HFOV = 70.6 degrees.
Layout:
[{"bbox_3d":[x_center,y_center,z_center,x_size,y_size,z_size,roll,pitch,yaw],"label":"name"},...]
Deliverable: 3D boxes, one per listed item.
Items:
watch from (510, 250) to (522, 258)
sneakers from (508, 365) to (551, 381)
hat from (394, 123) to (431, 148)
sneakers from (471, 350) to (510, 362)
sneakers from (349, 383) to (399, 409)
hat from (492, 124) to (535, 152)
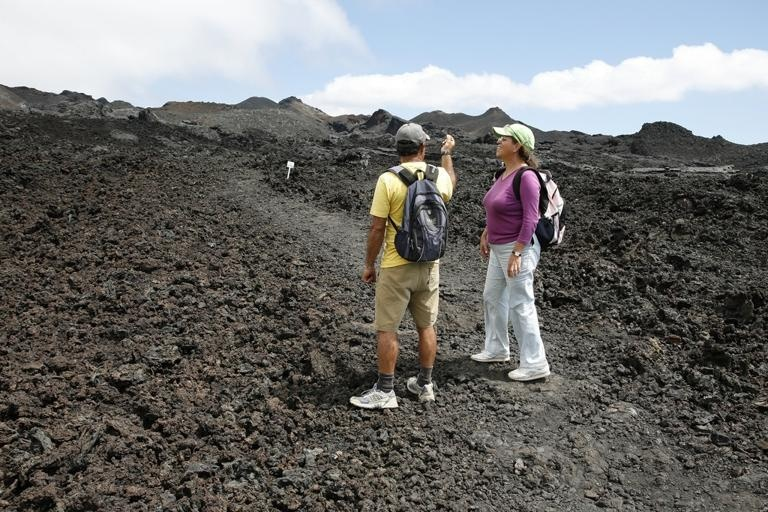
[{"bbox_3d":[1.413,-0.027,5.803,0.096,0.047,0.088,8,9,7],"label":"watch"},{"bbox_3d":[1.640,1.326,6.167,0.532,0.195,0.175,0,-1,-3],"label":"sneakers"},{"bbox_3d":[0.303,-1.269,5.657,0.299,0.237,0.370,4,9,10],"label":"hat"},{"bbox_3d":[1.254,1.199,6.514,0.471,0.166,0.152,3,1,1],"label":"sneakers"},{"bbox_3d":[-0.090,1.537,5.955,0.601,0.260,0.211,3,-6,-5],"label":"sneakers"},{"bbox_3d":[1.418,-1.278,5.843,0.660,0.287,0.286,-7,13,-43],"label":"hat"}]
